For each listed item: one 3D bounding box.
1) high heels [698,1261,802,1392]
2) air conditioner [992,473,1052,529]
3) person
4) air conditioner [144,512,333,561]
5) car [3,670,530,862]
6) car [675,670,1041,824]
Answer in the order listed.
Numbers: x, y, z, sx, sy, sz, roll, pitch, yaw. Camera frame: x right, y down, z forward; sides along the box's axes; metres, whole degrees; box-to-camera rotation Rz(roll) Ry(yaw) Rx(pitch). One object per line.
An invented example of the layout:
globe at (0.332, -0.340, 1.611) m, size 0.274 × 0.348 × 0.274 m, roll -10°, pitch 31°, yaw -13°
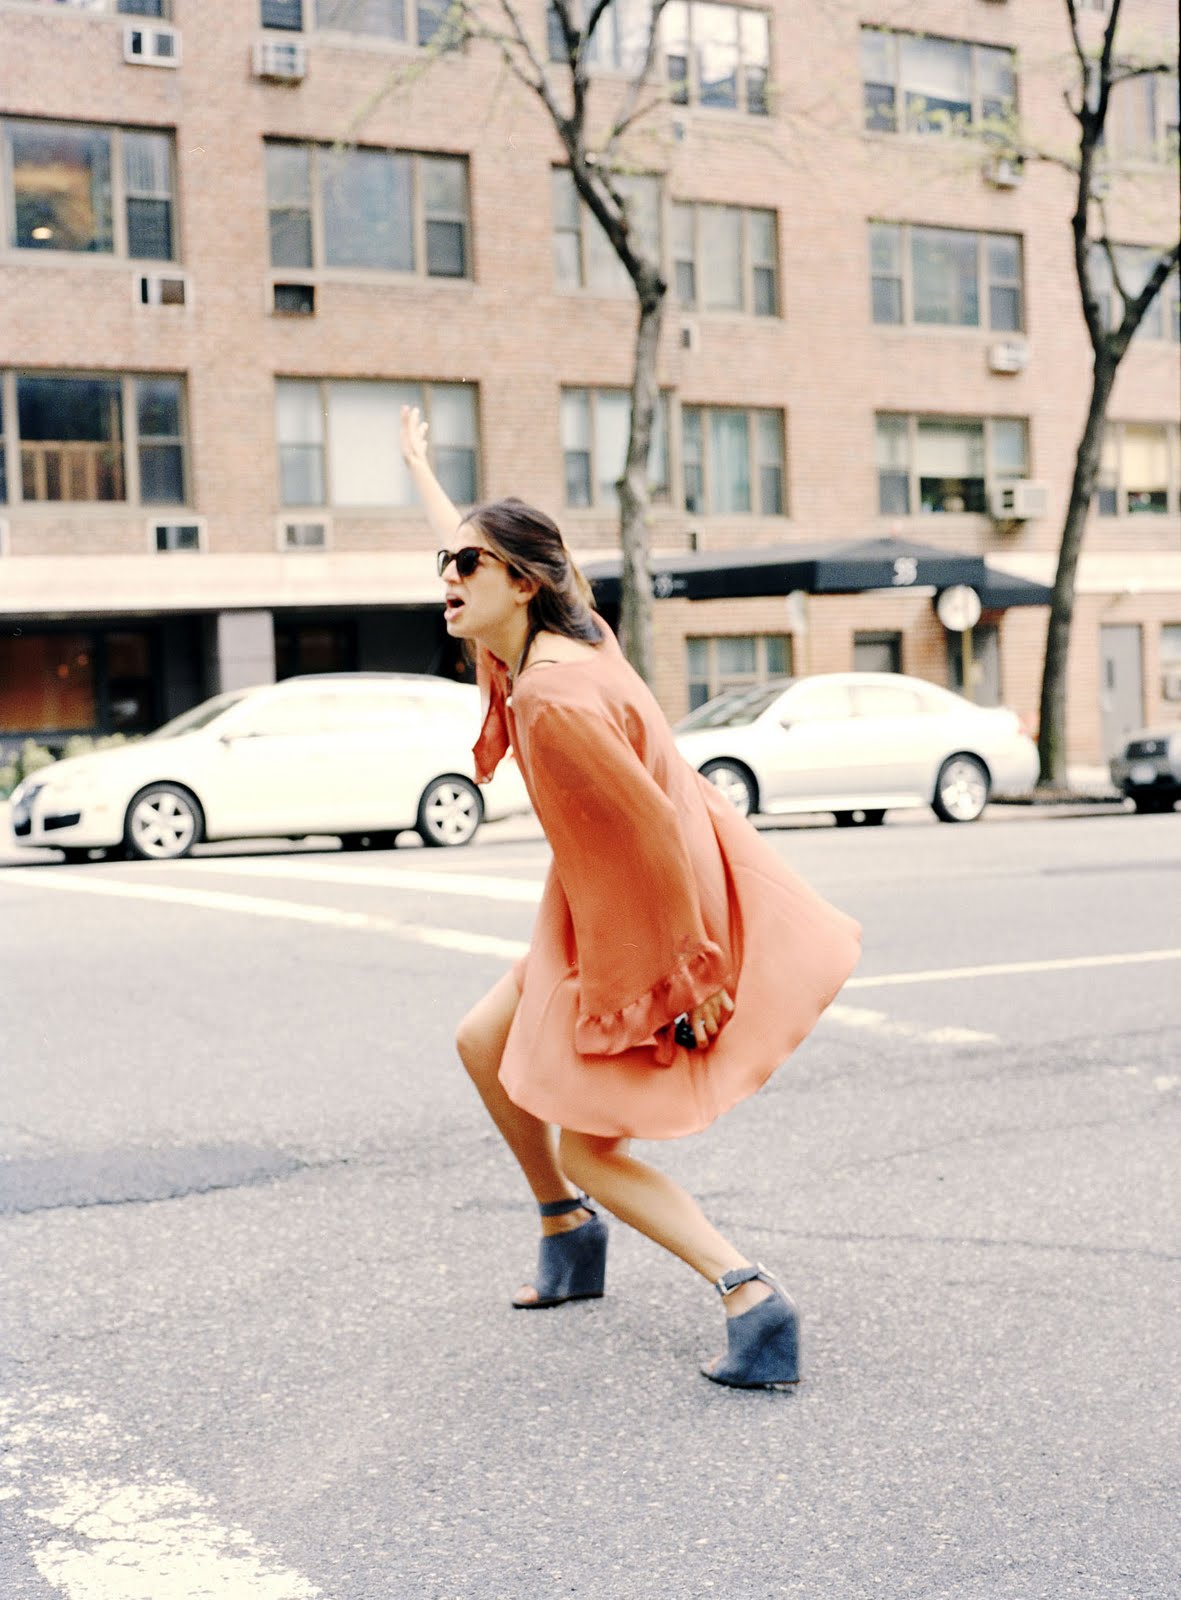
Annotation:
high heels at (0.307, 0.986, 4.172) m, size 0.115 × 0.217 × 0.296 m, roll -4°, pitch -2°, yaw -28°
air conditioner at (6.495, -4.530, 34.401) m, size 0.764 × 0.710 × 0.755 m, roll 0°, pitch 2°, yaw -24°
person at (0.072, 0.256, 4.292) m, size 0.692 × 1.663 × 0.754 m, roll -1°, pitch 4°, yaw -16°
air conditioner at (-4.288, -3.237, 27.767) m, size 2.194 × 0.436 × 0.131 m, roll -2°, pitch 4°, yaw -28°
car at (-2.464, -0.138, 17.476) m, size 3.979 × 1.324 × 1.654 m, roll 1°, pitch -5°, yaw -25°
car at (2.228, -0.392, 19.709) m, size 3.333 × 1.044 × 1.344 m, roll 3°, pitch -6°, yaw -31°
